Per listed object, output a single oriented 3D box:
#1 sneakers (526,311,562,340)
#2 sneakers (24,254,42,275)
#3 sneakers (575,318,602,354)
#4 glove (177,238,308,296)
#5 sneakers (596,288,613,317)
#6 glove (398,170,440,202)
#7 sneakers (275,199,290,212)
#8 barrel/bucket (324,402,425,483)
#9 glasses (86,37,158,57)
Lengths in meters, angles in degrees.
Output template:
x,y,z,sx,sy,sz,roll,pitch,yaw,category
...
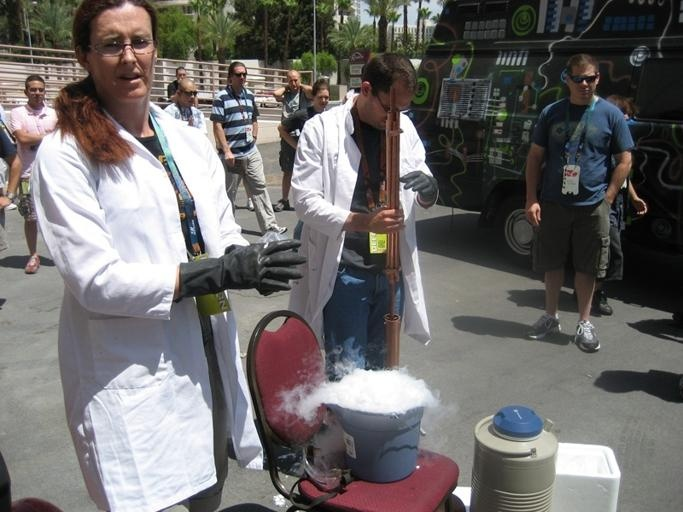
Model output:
x,y,z,sx,sy,sz,roll,pitch,yaw,category
1.952,0.656,5.548,0.422,0.227,0.157,-15,27,-23,sneakers
-3.789,0.124,6.968,0.127,0.178,0.396,2,2,-21,sneakers
2.267,0.744,5.223,0.147,0.172,0.351,-4,16,4,sneakers
-0.380,0.053,2.176,0.485,0.189,0.171,0,20,-6,glove
2.790,0.509,6.002,0.117,0.170,0.371,-2,10,0,sneakers
0.442,-0.430,3.287,0.200,0.164,0.074,24,67,33,glove
-1.068,-0.885,10.212,0.133,0.178,0.414,-1,-3,13,sneakers
0.173,0.806,2.589,0.357,0.305,0.308,-1,5,-4,barrel/bucket
-0.849,-0.811,2.202,0.227,0.071,0.064,-7,22,-22,glasses
